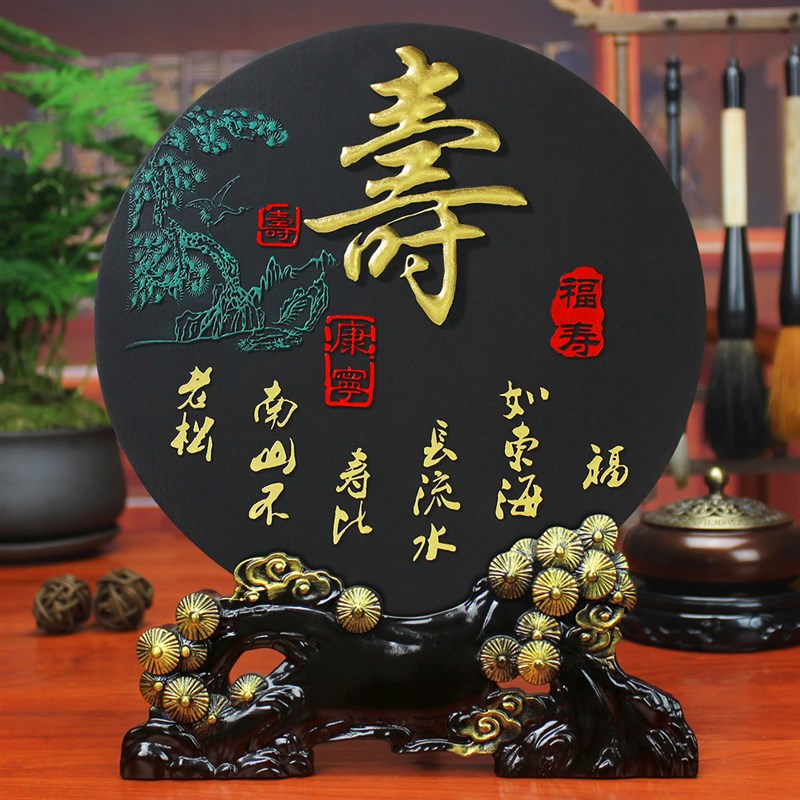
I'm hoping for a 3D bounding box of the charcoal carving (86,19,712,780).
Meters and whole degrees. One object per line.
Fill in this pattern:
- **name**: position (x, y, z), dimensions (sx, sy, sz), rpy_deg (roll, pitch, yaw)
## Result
- **charcoal carving**: position (-0.014, -0.008, 1.380), dimensions (0.723, 0.887, 0.345), rpy_deg (0, 13, 10)
